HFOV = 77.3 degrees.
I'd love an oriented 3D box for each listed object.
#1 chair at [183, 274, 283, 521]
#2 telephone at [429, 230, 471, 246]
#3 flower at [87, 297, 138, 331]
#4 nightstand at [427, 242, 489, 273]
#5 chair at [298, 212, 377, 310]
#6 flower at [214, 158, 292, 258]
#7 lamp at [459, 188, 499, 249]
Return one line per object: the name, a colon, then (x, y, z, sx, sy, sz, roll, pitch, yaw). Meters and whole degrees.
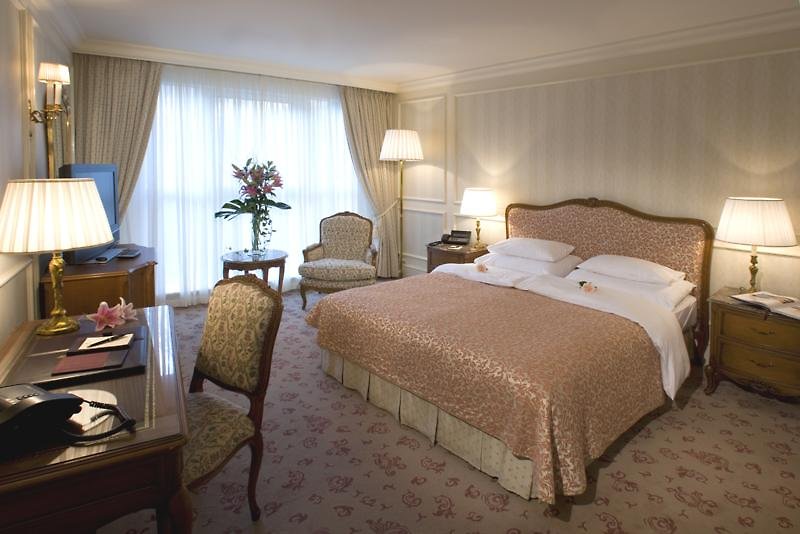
chair: (-1.079, 0.866, 3.287, 0.611, 1.559, 0.818, -3, 11, -19)
telephone: (0.768, -0.386, 6.771, 0.342, 0.117, 0.307, 0, 6, 36)
flower: (-1.904, 0.331, 3.337, 0.272, 0.236, 0.119, -8, -30, -22)
nightstand: (0.738, -0.172, 6.625, 0.447, 0.533, 0.582, -6, 9, -32)
chair: (-0.817, -0.096, 6.720, 0.985, 1.223, 0.940, 0, 10, -2)
flower: (-1.881, -0.808, 6.462, 0.815, 1.194, 0.889, -2, 10, -15)
lamp: (1.048, -0.642, 6.522, 0.433, 0.763, 0.530, 5, 11, 23)
